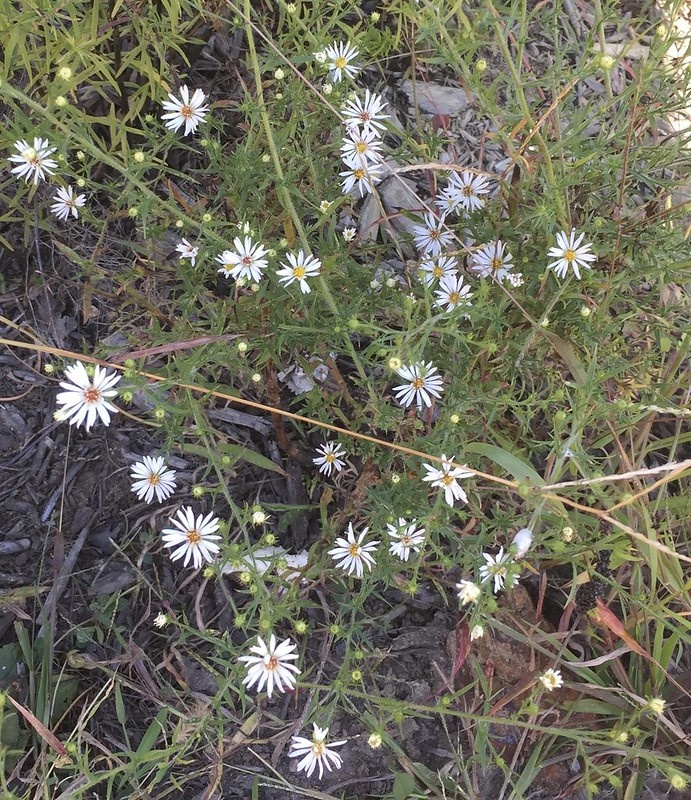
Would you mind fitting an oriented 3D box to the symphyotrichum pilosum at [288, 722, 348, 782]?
[{"bbox_3d":[-0.055,0.862,1.809,0.191,0.459,0.112,6,62,-10],"label":"symphyotrichum pilosum"}]
